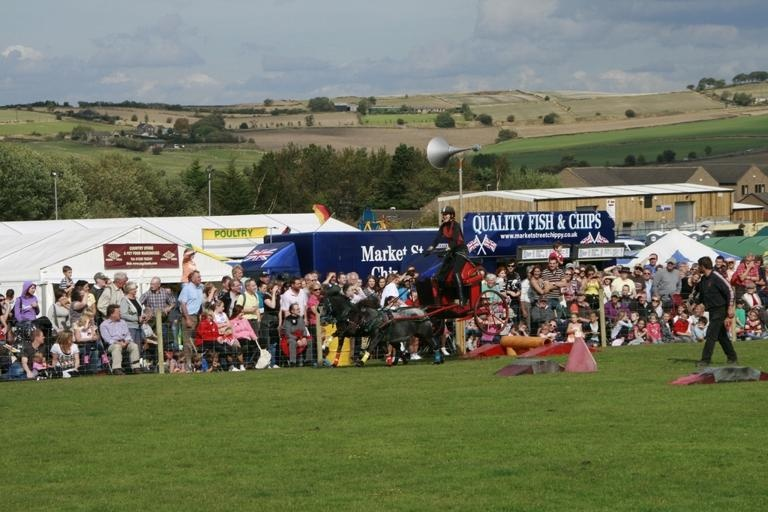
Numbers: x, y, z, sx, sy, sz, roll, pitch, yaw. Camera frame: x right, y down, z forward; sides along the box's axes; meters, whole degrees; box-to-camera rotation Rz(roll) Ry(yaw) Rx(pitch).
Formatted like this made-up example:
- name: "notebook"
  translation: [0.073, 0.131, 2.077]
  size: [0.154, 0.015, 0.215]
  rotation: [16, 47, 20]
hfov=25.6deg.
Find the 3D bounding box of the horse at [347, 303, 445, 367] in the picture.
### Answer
- name: "horse"
  translation: [0.636, 5.707, 125.886]
  size: [7.755, 4.038, 1.998]
  rotation: [0, -4, -9]
